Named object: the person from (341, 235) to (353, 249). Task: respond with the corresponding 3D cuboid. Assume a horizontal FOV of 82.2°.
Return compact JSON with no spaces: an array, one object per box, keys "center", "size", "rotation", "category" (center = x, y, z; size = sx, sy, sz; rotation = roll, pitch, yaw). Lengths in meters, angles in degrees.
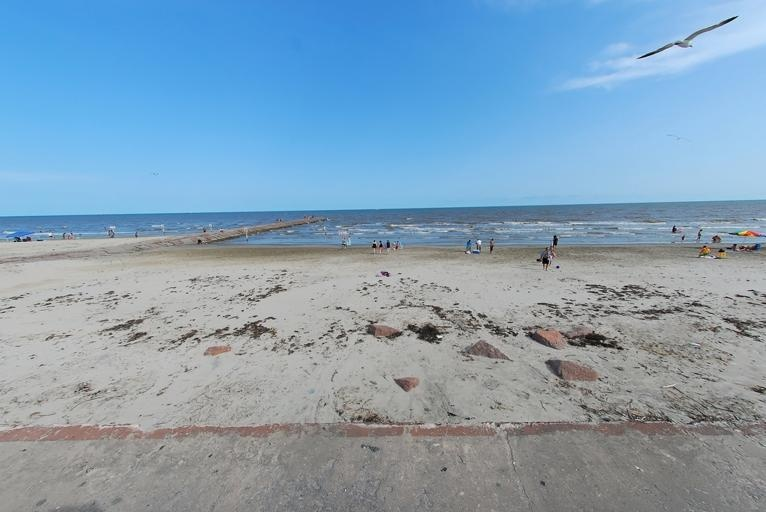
[{"center":[-3.458,-1.302,40.094],"size":[1.119,0.858,1.733],"rotation":[6,25,0],"category":"person"}]
